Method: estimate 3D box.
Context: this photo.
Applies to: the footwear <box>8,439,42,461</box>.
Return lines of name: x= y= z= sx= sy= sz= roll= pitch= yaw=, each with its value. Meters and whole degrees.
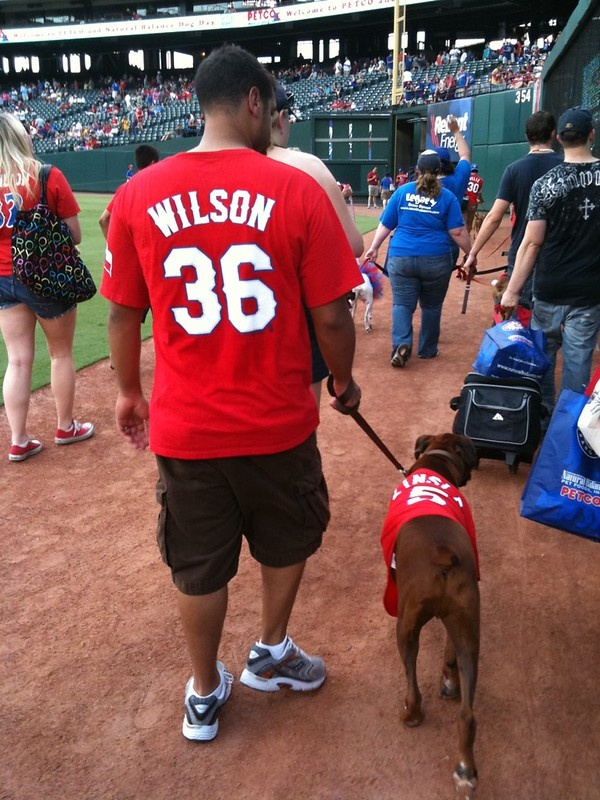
footwear: x=-1.835 y=0.338 z=4.134 sx=0.095 sy=0.104 sz=0.254 roll=5 pitch=12 yaw=8

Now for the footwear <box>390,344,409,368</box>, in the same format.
footwear: x=0.961 y=-0.423 z=5.970 sx=0.103 sy=0.283 sz=0.120 roll=38 pitch=71 yaw=21

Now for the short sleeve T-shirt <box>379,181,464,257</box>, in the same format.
short sleeve T-shirt: x=1.127 y=-1.693 z=5.756 sx=0.779 sy=0.646 sz=0.424 roll=3 pitch=23 yaw=16

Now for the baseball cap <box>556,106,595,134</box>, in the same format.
baseball cap: x=1.568 y=-1.564 z=3.503 sx=0.156 sy=0.127 sz=0.228 roll=8 pitch=48 yaw=27

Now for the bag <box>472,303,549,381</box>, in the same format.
bag: x=1.377 y=-0.383 z=4.039 sx=0.421 sy=0.404 sz=0.422 roll=8 pitch=11 yaw=12

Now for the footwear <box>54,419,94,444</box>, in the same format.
footwear: x=-1.627 y=0.221 z=4.494 sx=0.124 sy=0.138 sz=0.303 roll=14 pitch=19 yaw=31

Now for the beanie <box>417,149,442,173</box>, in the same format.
beanie: x=1.193 y=-2.212 z=5.735 sx=0.200 sy=0.195 sz=0.517 roll=1 pitch=22 yaw=10

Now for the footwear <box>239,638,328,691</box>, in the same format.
footwear: x=-0.015 y=0.947 z=2.167 sx=0.362 sy=0.184 sz=0.139 roll=4 pitch=-8 yaw=-21
